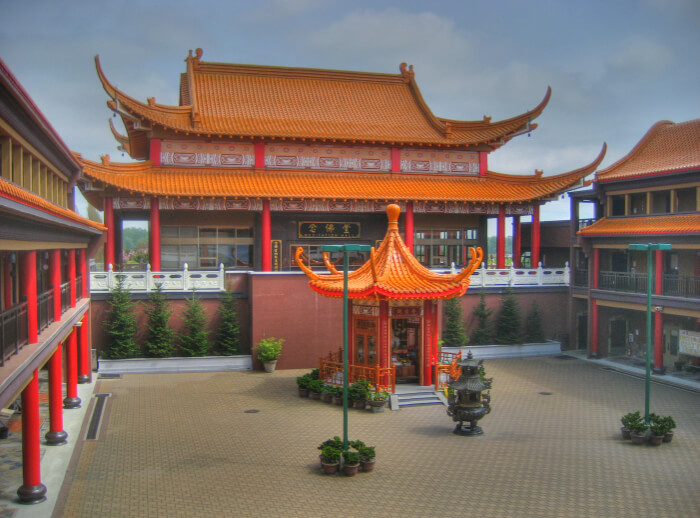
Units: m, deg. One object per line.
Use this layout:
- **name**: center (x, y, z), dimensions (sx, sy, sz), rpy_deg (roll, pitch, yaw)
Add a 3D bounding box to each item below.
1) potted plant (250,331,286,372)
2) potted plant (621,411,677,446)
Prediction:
- **potted plant**: center (-3.383, 4.012, 28.651), dimensions (1.438, 1.531, 1.336), rpy_deg (1, -7, -7)
- **potted plant**: center (8.994, 5.139, 20.608), dimensions (1.118, 0.651, 1.054), rpy_deg (1, 4, 20)
